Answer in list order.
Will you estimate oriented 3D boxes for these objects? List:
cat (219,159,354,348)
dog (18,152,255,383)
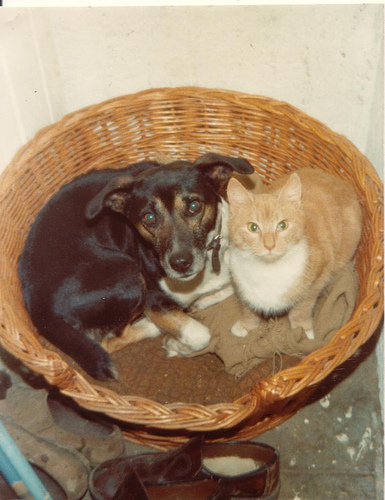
[{"bbox_3d":[0.292,0.030,2.256,0.359,0.603,0.747,-2,16,7],"label":"cat"},{"bbox_3d":[-0.232,0.024,2.133,0.782,0.686,0.605,-24,34,-22],"label":"dog"}]
